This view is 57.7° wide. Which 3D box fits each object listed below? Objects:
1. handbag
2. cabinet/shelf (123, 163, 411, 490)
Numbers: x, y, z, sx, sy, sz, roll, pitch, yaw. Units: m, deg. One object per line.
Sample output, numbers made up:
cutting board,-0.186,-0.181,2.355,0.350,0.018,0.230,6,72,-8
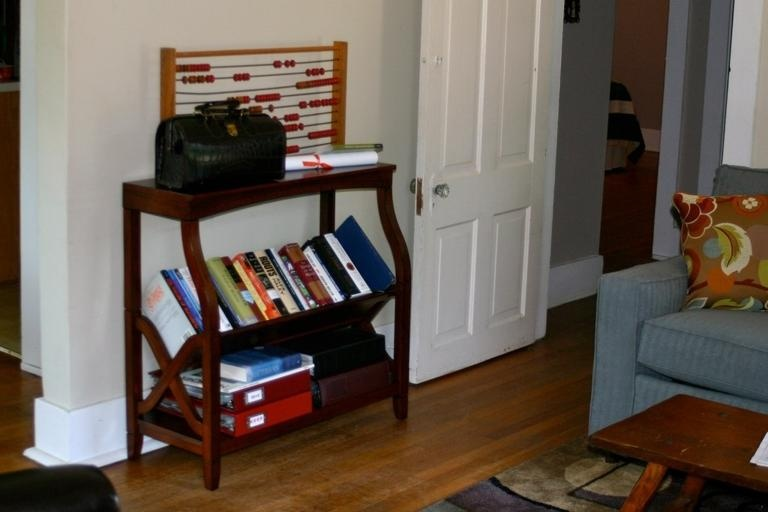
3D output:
handbag,-0.681,-0.469,2.974,0.546,0.355,0.192,-20,23,-34
cabinet/shelf,-0.522,0.264,3.475,0.626,1.254,1.324,6,10,38
